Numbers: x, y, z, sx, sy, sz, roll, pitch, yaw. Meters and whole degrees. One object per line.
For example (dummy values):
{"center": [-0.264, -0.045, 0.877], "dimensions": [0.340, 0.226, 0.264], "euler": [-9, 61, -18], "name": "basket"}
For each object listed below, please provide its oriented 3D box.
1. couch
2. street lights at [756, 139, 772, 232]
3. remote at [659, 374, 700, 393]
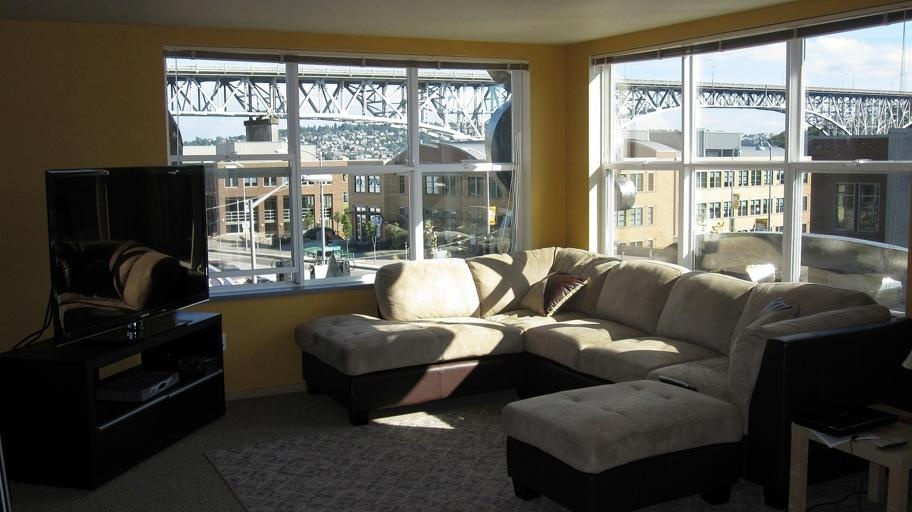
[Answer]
{"center": [1.298, 0.936, 5.793], "dimensions": [2.716, 1.050, 3.611], "euler": [0, 3, -29], "name": "couch"}
{"center": [3.099, -0.713, 6.580], "dimensions": [0.164, 0.898, 0.129], "euler": [2, 11, 30], "name": "street lights"}
{"center": [1.867, 1.078, 5.541], "dimensions": [0.123, 0.069, 0.339], "euler": [-8, 10, -35], "name": "remote"}
